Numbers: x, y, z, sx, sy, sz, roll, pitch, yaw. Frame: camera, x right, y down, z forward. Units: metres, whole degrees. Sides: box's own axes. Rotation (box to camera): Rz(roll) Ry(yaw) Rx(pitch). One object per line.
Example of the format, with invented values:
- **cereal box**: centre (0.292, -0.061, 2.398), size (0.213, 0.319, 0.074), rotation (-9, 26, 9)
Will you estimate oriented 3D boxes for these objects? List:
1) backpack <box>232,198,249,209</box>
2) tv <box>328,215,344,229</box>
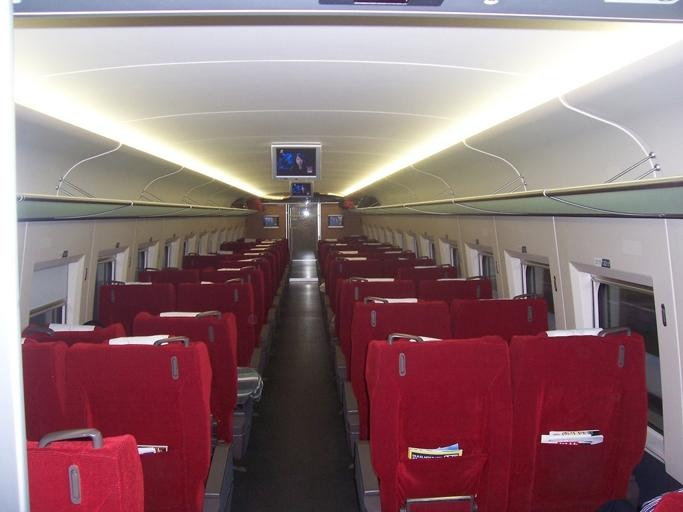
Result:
- **backpack**: centre (-4.300, -2.222, 19.828), size (0.459, 0.496, 0.833), rotation (-3, 16, 3)
- **tv**: centre (-0.360, -1.874, 25.282), size (0.783, 0.646, 0.106), rotation (0, 1, -14)
